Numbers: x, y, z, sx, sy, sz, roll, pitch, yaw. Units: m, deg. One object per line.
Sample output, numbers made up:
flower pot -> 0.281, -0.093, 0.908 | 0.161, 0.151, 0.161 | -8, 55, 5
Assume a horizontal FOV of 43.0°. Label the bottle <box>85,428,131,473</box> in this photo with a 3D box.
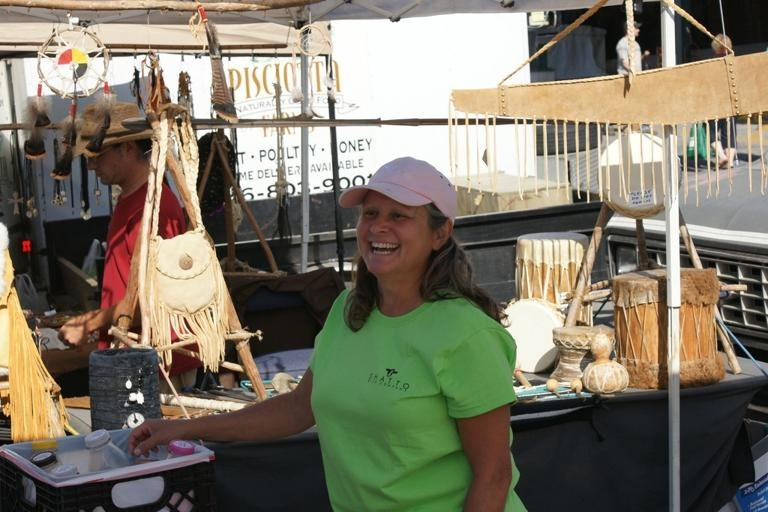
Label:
bottle -> -1.338, 0.944, 4.694 | 0.123, 0.215, 0.130 | -23, 10, 4
